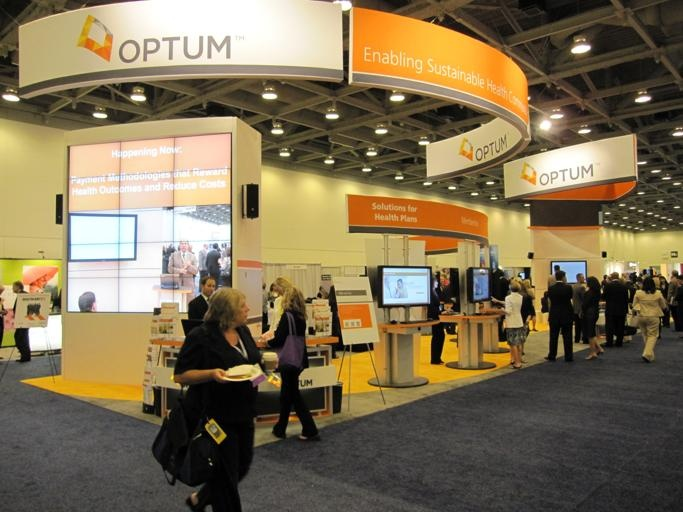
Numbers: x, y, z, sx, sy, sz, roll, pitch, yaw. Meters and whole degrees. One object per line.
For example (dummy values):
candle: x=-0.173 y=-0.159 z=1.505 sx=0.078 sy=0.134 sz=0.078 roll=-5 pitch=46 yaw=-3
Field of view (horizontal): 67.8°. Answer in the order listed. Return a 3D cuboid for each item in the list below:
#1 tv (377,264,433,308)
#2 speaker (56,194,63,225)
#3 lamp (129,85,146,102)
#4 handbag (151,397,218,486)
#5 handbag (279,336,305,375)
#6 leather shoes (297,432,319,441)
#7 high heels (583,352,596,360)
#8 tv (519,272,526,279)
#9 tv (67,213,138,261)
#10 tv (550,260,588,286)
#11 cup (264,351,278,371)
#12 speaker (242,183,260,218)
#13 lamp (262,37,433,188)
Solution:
tv: x=0.915 y=0.427 z=7.039 sx=0.108 sy=0.566 sz=1.022 roll=3 pitch=-6 yaw=-40
speaker: x=-4.402 y=-0.732 z=7.874 sx=0.075 sy=0.457 sz=0.232 roll=1 pitch=-2 yaw=-38
lamp: x=-3.670 y=-2.894 z=9.129 sx=0.306 sy=0.261 sz=0.298 roll=-2 pitch=6 yaw=-32
handbag: x=-0.953 y=1.098 z=3.152 sx=0.533 sy=0.486 sz=0.272 roll=18 pitch=11 yaw=42
handbag: x=-0.508 y=0.961 z=4.964 sx=0.392 sy=0.413 sz=0.230 roll=3 pitch=-4 yaw=-5
leather shoes: x=-0.344 y=1.777 z=5.003 sx=0.194 sy=0.055 sz=0.073 roll=-1 pitch=-4 yaw=23
high heels: x=4.402 y=1.785 z=9.058 sx=0.080 sy=0.107 sz=0.231 roll=4 pitch=-6 yaw=-33
tv: x=6.917 y=0.730 z=19.491 sx=0.053 sy=0.264 sz=0.398 roll=-6 pitch=-8 yaw=36
tv: x=-3.605 y=-0.279 z=7.622 sx=1.105 sy=0.693 sz=0.027 roll=1 pitch=0 yaw=8
tv: x=5.663 y=0.411 z=12.533 sx=0.719 sy=0.483 sz=0.025 roll=1 pitch=2 yaw=26
cup: x=-0.570 y=0.833 z=4.054 sx=0.142 sy=0.109 sz=0.137 roll=-2 pitch=-4 yaw=0
speaker: x=-1.237 y=-0.772 z=7.081 sx=0.237 sy=0.454 sz=0.154 roll=-4 pitch=-4 yaw=20
lamp: x=0.201 y=-4.096 z=12.602 sx=2.738 sy=0.614 sz=2.702 roll=4 pitch=-5 yaw=-42
